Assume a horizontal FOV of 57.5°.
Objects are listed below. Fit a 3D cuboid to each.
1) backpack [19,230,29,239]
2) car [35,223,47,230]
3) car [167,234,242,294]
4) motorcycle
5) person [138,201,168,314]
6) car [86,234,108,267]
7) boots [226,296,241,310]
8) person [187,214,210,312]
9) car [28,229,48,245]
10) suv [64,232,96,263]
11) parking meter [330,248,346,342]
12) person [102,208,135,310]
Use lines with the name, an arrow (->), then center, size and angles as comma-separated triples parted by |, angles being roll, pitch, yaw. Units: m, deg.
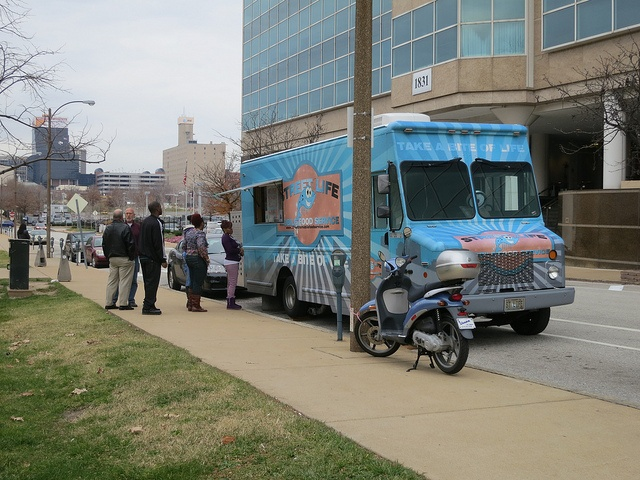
backpack -> -16.824, -0.326, 33.248 | 0.390, 0.701, 0.638 | 2, -12, -32
car -> -33.570, -1.687, 70.477 | 1.288, 0.915, 2.791 | -1, 6, -18
car -> -3.473, 0.781, 17.255 | 1.539, 1.290, 2.724 | 0, -5, -28
motorcycle -> 1.319, 0.985, 8.471 | 0.803, 1.734, 2.264 | 2, -3, -32
person -> -3.631, 0.387, 12.728 | 0.551, 2.458, 0.791 | 0, -1, -17
car -> -11.556, 0.518, 30.608 | 1.305, 1.526, 3.317 | 1, 1, -35
boots -> -1.996, 1.518, 14.034 | 0.478, 0.381, 0.181 | -2, 3, -14
person -> -2.781, 0.517, 13.286 | 0.541, 2.229, 0.902 | 0, -1, -13
car -> -22.449, -0.229, 46.712 | 1.196, 0.883, 2.643 | 0, -3, -29
suv -> -13.034, 0.448, 31.829 | 1.597, 1.568, 2.748 | 0, -2, -28
parking meter -> 0.325, 0.947, 9.791 | 0.218, 1.542, 0.274 | -1, 1, 15
person -> -4.528, 0.424, 13.179 | 0.667, 2.306, 0.929 | 0, -1, -25
